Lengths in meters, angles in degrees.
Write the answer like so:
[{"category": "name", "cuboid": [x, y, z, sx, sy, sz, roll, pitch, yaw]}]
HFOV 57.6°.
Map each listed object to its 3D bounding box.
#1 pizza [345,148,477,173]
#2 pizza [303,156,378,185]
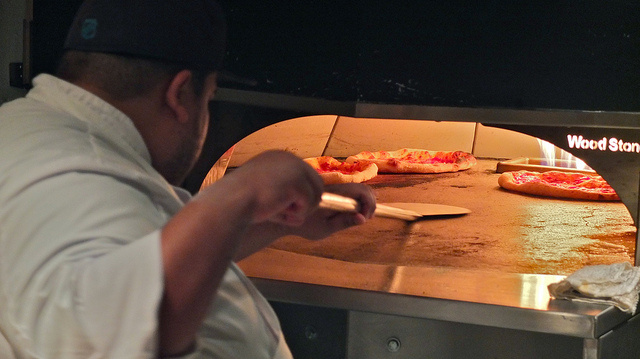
[{"category": "pizza", "cuboid": [0.451, -0.108, 2.624, 0.392, 0.126, 0.383, 4, 3, 7]}, {"category": "pizza", "cuboid": [0.121, -0.036, 2.534, 0.309, 0.080, 0.252, -9, 27, -20]}]
